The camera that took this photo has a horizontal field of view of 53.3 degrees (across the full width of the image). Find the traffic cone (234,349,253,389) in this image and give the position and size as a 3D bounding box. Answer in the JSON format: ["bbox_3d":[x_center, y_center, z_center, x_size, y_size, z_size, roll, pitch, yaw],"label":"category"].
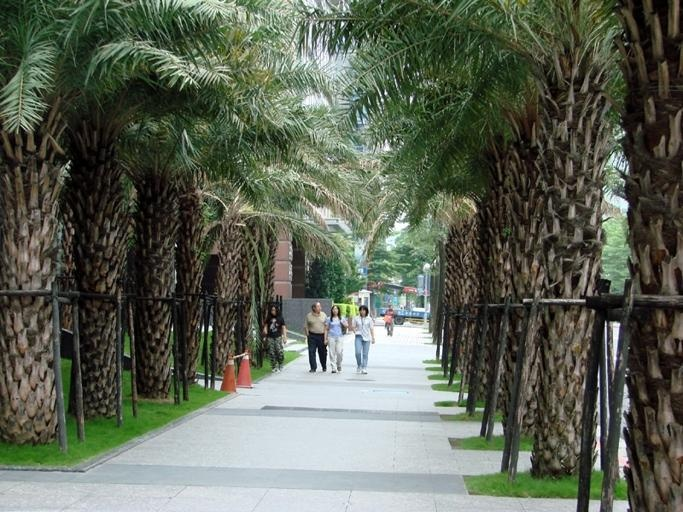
[{"bbox_3d":[-2.377,2.778,16.786,0.590,0.883,0.661,7,-10,-19],"label":"traffic cone"}]

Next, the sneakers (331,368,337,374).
[{"bbox_3d":[-0.204,3.545,21.036,0.107,0.124,0.118,3,-4,-10],"label":"sneakers"}]

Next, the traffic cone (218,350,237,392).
[{"bbox_3d":[-2.539,2.677,15.511,0.511,0.809,0.511,6,-3,-31],"label":"traffic cone"}]
